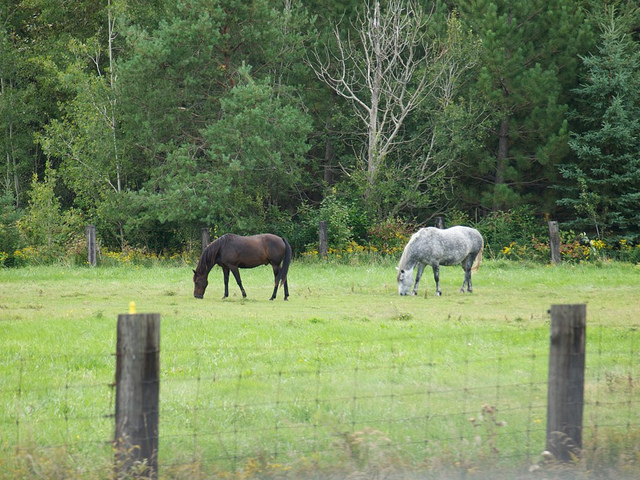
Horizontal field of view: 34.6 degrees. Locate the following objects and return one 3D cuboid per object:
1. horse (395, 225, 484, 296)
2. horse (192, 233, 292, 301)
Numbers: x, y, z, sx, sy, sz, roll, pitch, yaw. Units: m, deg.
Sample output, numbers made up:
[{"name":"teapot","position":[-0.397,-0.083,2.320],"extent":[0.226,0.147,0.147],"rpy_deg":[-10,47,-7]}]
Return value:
[{"name":"horse","position":[4.707,0.892,40.029],"extent":[4.853,2.697,1.259],"rpy_deg":[-6,6,-39]},{"name":"horse","position":[-2.636,1.161,37.561],"extent":[2.928,2.554,2.765],"rpy_deg":[2,7,30]}]
